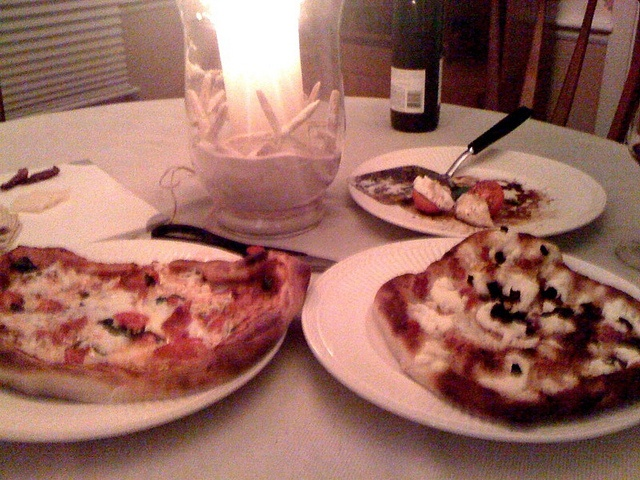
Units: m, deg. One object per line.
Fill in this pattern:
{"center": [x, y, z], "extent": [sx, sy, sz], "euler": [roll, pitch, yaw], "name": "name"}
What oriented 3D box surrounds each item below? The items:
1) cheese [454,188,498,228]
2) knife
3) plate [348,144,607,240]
{"center": [0.202, -0.042, 0.698], "extent": [0.063, 0.041, 0.046], "euler": [-5, 13, -21], "name": "cheese"}
{"center": [-0.092, 0.009, 0.632], "extent": [0.146, 0.012, 0.034], "euler": [11, 37, 18], "name": "knife"}
{"center": [0.178, -0.139, 0.851], "extent": [0.488, 0.129, 0.350], "euler": [-6, 16, -7], "name": "plate"}
